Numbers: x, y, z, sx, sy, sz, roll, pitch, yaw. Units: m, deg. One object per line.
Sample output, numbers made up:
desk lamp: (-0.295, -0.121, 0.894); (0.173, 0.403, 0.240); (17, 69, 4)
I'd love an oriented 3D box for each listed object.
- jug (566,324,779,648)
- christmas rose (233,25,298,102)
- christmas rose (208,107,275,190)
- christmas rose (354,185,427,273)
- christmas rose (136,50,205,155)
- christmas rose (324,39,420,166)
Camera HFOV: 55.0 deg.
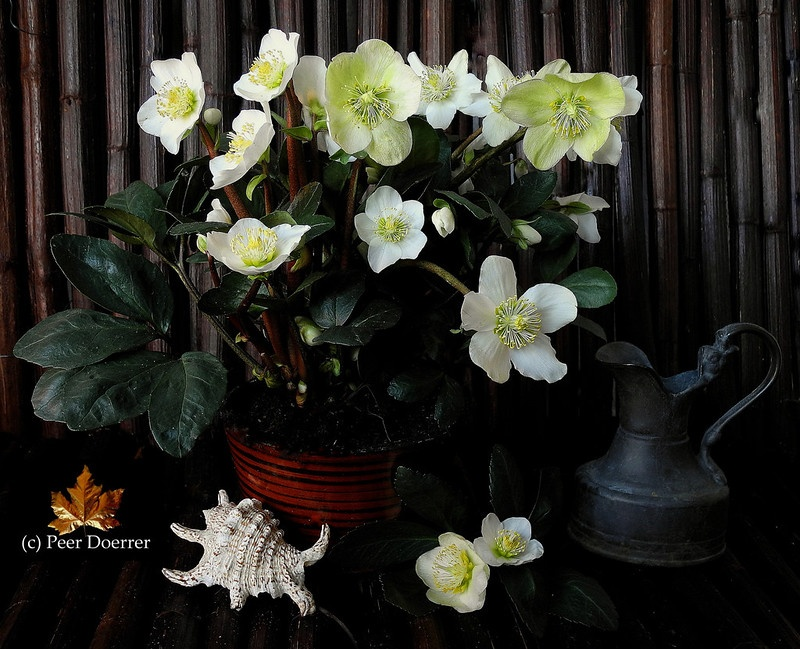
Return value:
jug: (0.444, 0.175, 1.262); (0.270, 0.424, 0.258); (8, 19, 23)
christmas rose: (-0.179, -0.337, 1.056); (0.036, 0.096, 0.077); (41, 40, 18)
christmas rose: (-0.222, -0.239, 1.060); (0.085, 0.098, 0.169); (-8, 19, -13)
christmas rose: (-0.009, -0.142, 1.089); (0.113, 0.132, 0.035); (12, 10, -37)
christmas rose: (-0.335, -0.318, 1.113); (0.094, 0.131, 0.163); (-9, 18, -17)
christmas rose: (-0.030, -0.330, 1.049); (0.111, 0.064, 0.121); (13, 6, -43)
